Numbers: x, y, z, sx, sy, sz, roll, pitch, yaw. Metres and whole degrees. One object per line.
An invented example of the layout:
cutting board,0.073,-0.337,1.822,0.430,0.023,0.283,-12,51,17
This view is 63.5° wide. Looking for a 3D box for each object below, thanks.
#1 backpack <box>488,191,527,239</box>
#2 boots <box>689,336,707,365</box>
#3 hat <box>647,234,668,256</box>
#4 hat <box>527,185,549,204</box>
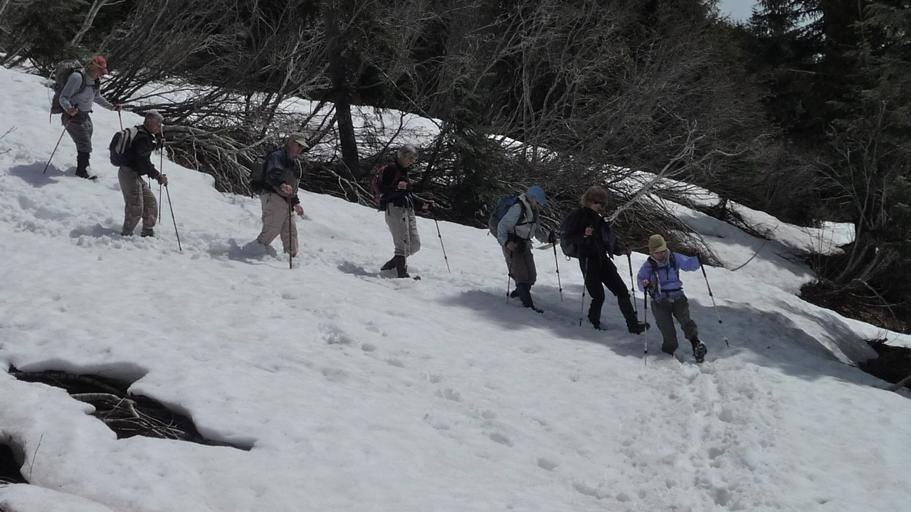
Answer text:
backpack,1.155,-0.939,17.340,0.286,1.030,0.574,6,14,-43
boots,5.488,2.131,16.590,0.294,0.671,0.251,-18,-10,-1
hat,4.551,-0.223,16.537,0.417,0.355,0.369,18,11,14
hat,1.949,-1.373,17.399,0.568,0.298,0.413,29,19,-12
